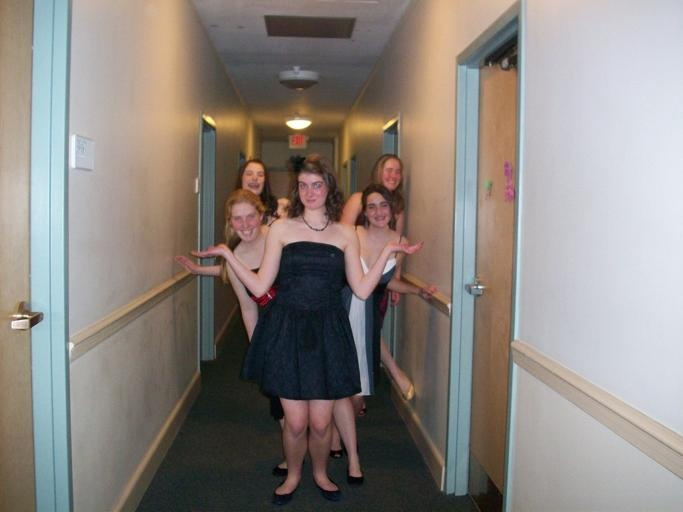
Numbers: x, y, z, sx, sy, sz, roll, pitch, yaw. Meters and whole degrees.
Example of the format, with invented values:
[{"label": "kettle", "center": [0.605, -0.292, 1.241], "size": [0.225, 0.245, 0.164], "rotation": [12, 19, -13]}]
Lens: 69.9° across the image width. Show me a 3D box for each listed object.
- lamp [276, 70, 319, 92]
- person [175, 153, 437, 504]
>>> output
[{"label": "lamp", "center": [-0.522, -2.093, 5.814], "size": [0.298, 0.113, 0.310], "rotation": [-1, 3, 2]}, {"label": "person", "center": [-0.187, 0.432, 2.634], "size": [0.811, 1.902, 0.517], "rotation": [-1, 5, -14]}]
